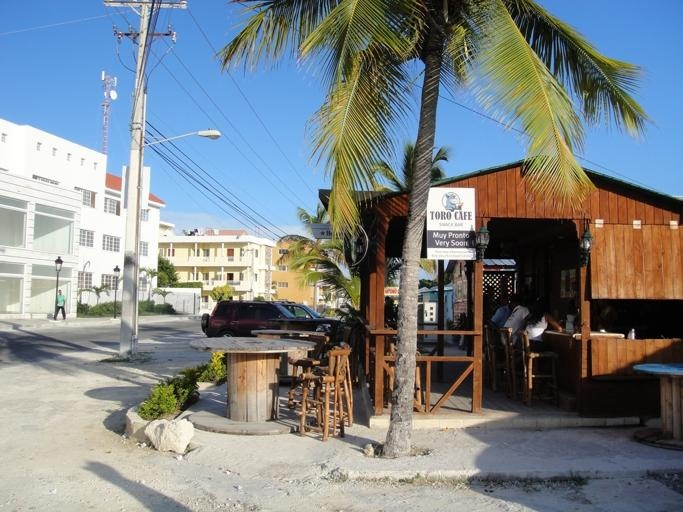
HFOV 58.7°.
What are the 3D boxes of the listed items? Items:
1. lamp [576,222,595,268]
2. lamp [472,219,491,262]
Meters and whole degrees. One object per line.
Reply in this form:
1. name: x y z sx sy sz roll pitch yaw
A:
1. lamp: 4.435 -0.240 11.090 0.223 0.865 0.293 -2 -7 24
2. lamp: 2.630 -0.285 11.444 0.227 0.850 1.365 -1 -8 13
